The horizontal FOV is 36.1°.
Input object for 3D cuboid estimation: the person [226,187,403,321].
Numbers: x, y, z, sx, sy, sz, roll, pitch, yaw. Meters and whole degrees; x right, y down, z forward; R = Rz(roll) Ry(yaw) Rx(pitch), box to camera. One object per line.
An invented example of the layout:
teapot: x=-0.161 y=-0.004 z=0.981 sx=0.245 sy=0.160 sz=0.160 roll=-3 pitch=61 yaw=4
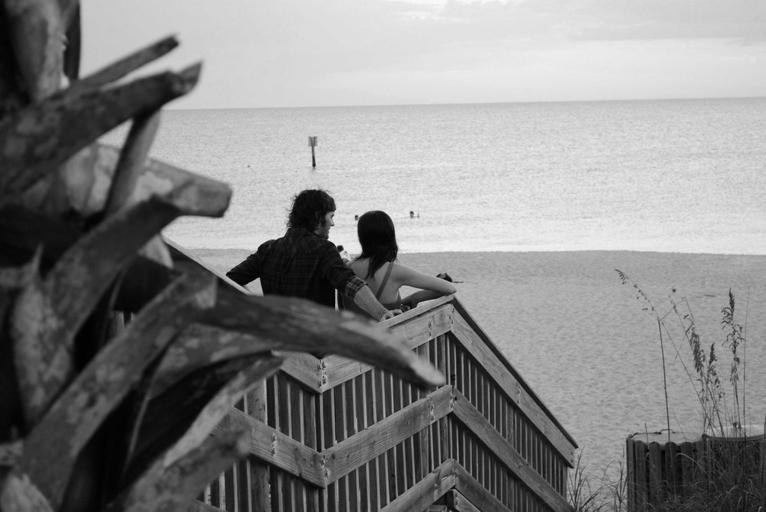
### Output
person: x=-0.310 y=-0.011 z=5.369 sx=0.829 sy=0.625 sz=0.357 roll=-2 pitch=-4 yaw=29
